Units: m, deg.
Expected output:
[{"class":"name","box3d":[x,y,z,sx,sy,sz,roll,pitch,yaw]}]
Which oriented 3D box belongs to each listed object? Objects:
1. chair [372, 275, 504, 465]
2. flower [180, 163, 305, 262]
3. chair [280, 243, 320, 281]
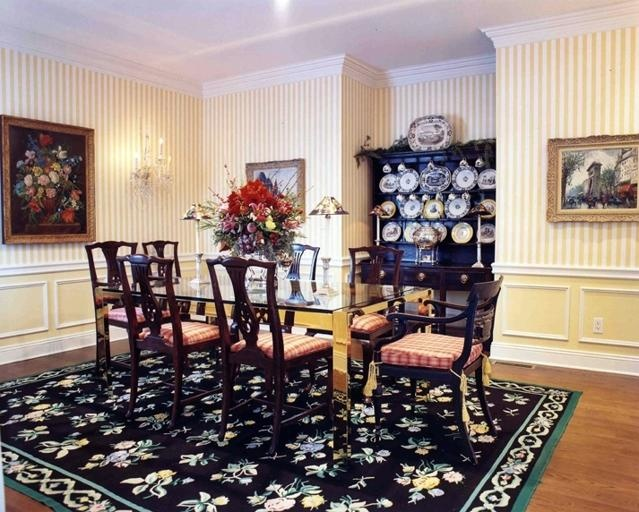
[{"class":"chair","box3d":[0.769,0.684,3.169,0.789,1.123,0.582,3,7,24]},{"class":"flower","box3d":[-0.488,-0.266,3.927,1.010,0.633,1.015,7,8,40]},{"class":"chair","box3d":[-0.226,0.055,5.062,0.397,0.537,0.434,2,1,25]}]
